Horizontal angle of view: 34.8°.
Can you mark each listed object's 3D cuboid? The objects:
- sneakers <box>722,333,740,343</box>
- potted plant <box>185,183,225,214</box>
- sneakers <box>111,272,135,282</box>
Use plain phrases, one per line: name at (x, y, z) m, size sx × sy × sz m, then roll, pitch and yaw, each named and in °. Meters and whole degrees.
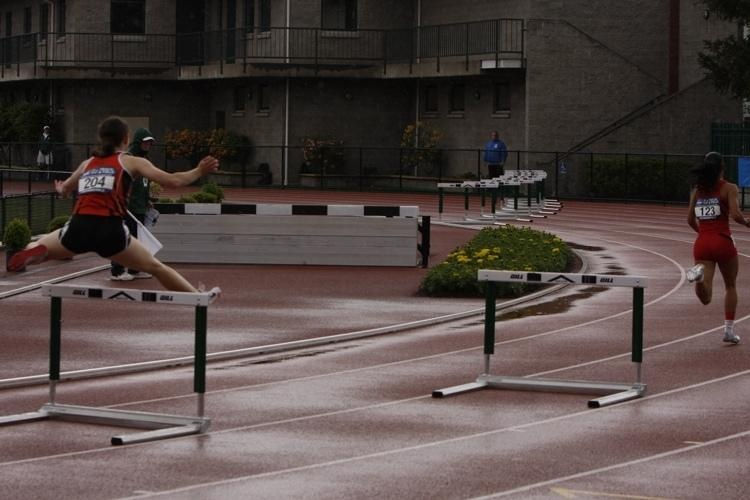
sneakers at (5.453, 1.377, 18.344) m, size 0.125 × 0.123 × 0.323 m, roll 6°, pitch 5°, yaw 38°
potted plant at (-4.237, -1.070, 29.540) m, size 1.172 × 0.867 × 1.392 m, roll -1°, pitch 11°, yaw -22°
sneakers at (-4.784, 0.552, 22.978) m, size 0.471 × 0.180 × 0.158 m, roll 0°, pitch 4°, yaw 1°
